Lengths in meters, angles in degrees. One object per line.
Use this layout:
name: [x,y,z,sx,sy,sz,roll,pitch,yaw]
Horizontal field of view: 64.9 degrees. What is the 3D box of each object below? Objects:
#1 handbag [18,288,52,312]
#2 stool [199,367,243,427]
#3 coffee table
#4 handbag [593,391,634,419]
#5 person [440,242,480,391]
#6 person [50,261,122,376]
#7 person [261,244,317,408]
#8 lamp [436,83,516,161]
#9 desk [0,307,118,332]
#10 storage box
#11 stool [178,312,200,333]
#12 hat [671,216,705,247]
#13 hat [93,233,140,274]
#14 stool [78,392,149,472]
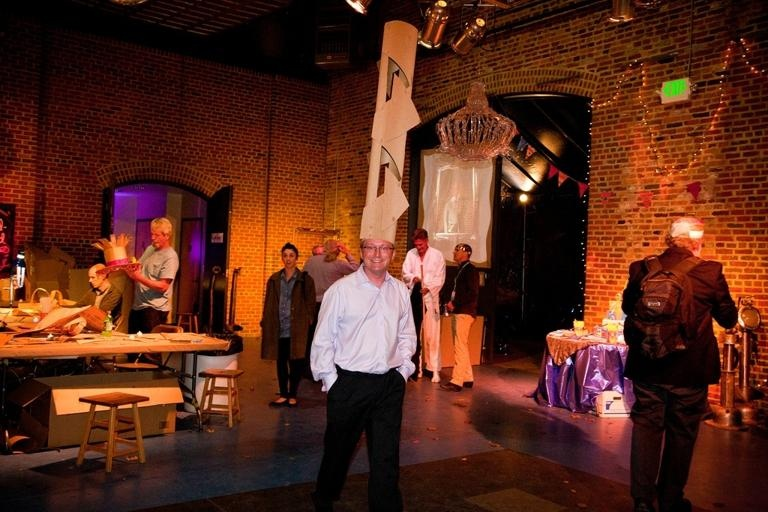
handbag: [-5.170,0.646,8.905,0.332,0.208,0.413,3,1,-5]
stool: [-1.973,1.661,7.266,0.524,0.524,0.501,0,-3,22]
coffee table: [2.911,1.689,8.539,1.331,0.823,1.301,3,-7,-3]
handbag: [3.013,1.961,7.939,0.356,0.300,0.461,0,-4,-3]
person: [1.179,0.918,9.295,0.484,2.212,0.389,1,-2,12]
person: [-3.768,0.815,7.742,0.568,1.270,0.851,8,9,42]
person: [-1.232,0.898,7.852,0.663,2.117,0.531,2,-2,2]
lamp: [1.589,-2.301,10.278,1.407,1.235,1.391,5,7,27]
desk: [-3.605,0.730,6.895,0.478,0.206,0.920,1,-2,4]
storage box: [-3.039,1.554,6.576,1.552,0.516,0.868,-1,4,-27]
stool: [-4.149,1.391,12.878,0.372,0.430,1.605,2,-2,-15]
hat: [2.866,-0.228,5.686,0.322,0.244,0.248,-2,7,13]
hat: [-3.212,-0.043,7.330,0.521,0.443,0.510,0,7,41]
stool: [-2.736,1.764,6.134,0.602,0.593,0.599,7,-7,-33]
